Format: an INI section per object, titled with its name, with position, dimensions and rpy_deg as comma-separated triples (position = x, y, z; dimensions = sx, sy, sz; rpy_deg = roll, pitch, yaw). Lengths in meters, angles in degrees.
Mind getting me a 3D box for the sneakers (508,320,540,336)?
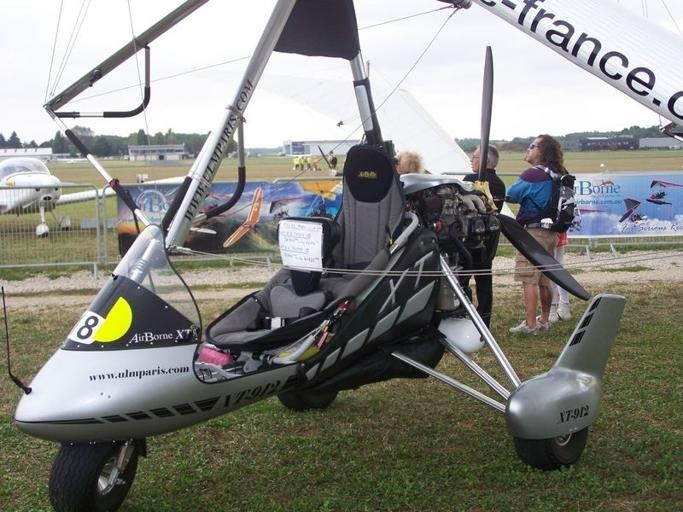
[sneakers]
position = 2.077, 0.826, 6.982
dimensions = 0.415, 0.155, 0.134
rpy_deg = 2, 1, 14
